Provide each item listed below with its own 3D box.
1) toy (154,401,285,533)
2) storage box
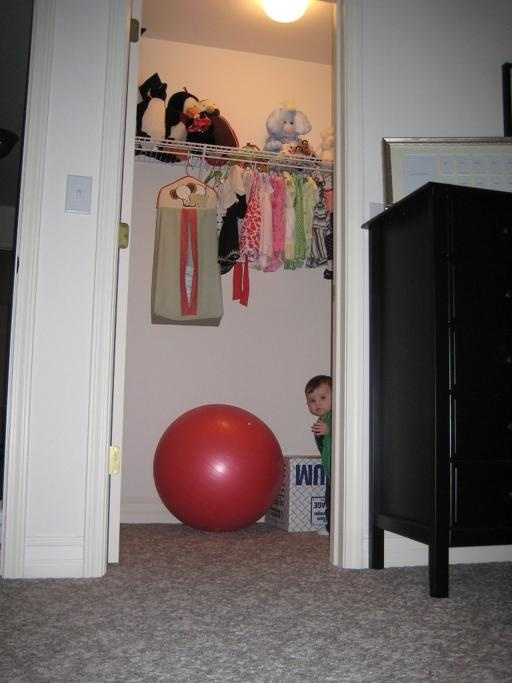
[{"bbox_3d":[-0.160,0.518,2.482,0.473,0.574,0.560,-2,20,17],"label":"toy"},{"bbox_3d":[0.205,0.681,2.651,0.305,0.266,0.310,-13,-20,38],"label":"storage box"}]
